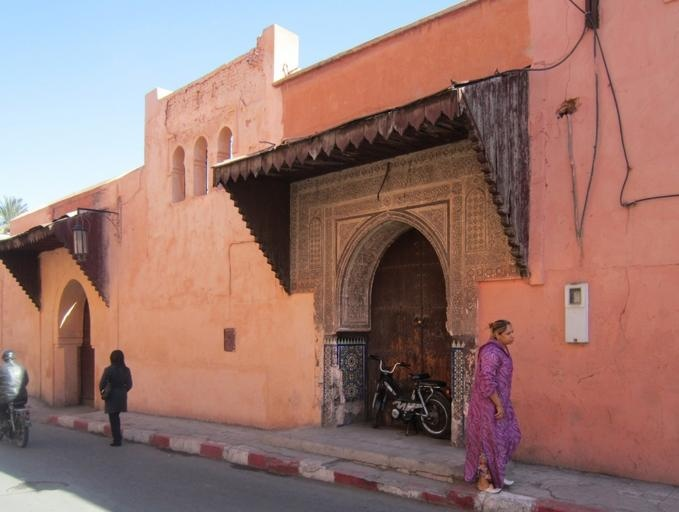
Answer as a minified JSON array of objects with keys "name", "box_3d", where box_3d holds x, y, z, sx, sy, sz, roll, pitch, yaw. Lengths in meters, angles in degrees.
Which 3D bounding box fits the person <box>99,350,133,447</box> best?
[{"name":"person","box_3d":[-3.530,2.248,11.964,0.462,1.509,0.497,-4,6,-20]}]

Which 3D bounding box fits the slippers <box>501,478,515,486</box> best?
[{"name":"slippers","box_3d":[1.909,2.580,8.592,0.108,0.068,0.088,-1,4,-34]}]

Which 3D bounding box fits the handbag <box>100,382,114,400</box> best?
[{"name":"handbag","box_3d":[-3.609,2.085,11.716,0.130,0.345,0.245,-1,-3,42]}]

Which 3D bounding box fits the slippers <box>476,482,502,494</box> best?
[{"name":"slippers","box_3d":[1.669,2.594,8.433,0.100,0.064,0.175,3,-9,-43]}]

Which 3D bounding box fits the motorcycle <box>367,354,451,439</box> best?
[{"name":"motorcycle","box_3d":[1.049,2.086,10.958,0.626,0.907,1.294,3,-5,-35]}]

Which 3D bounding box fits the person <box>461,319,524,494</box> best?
[{"name":"person","box_3d":[1.709,1.708,8.547,0.660,1.889,0.556,-3,5,-10]}]
